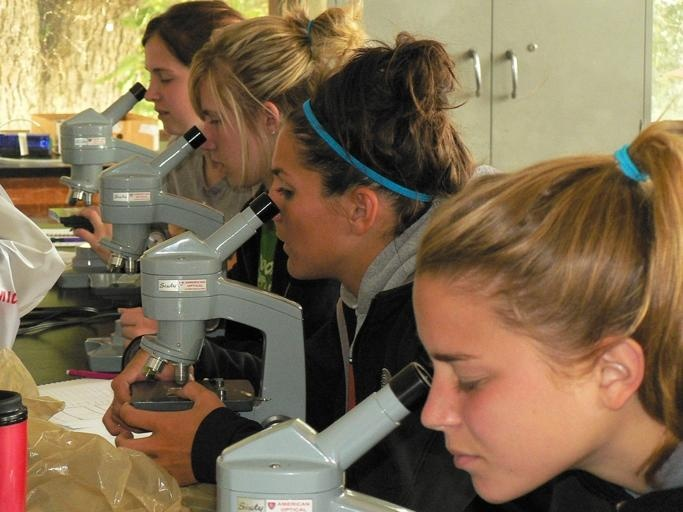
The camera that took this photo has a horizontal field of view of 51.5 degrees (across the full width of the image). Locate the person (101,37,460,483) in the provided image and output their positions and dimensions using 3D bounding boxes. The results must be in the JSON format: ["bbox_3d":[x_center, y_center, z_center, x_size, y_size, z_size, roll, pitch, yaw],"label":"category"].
[{"bbox_3d":[-0.098,0.065,1.617,0.685,1.066,0.558,-6,21,-23],"label":"person"}]

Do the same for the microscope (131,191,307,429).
[{"bbox_3d":[-0.250,0.116,1.458,0.362,0.469,0.172,-1,9,-22],"label":"microscope"}]

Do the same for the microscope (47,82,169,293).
[{"bbox_3d":[-0.784,-0.298,2.557,0.400,0.769,0.386,-7,20,-22],"label":"microscope"}]
